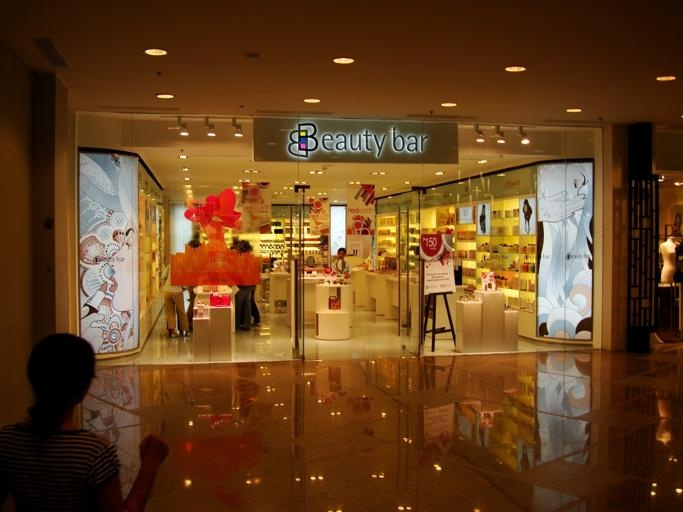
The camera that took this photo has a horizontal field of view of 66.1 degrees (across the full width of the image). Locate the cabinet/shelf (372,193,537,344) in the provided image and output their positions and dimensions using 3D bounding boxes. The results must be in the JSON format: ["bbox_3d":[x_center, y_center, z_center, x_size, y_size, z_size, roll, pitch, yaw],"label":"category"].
[{"bbox_3d":[2.174,-0.319,10.340,3.356,3.465,2.520,-1,2,-15],"label":"cabinet/shelf"}]
